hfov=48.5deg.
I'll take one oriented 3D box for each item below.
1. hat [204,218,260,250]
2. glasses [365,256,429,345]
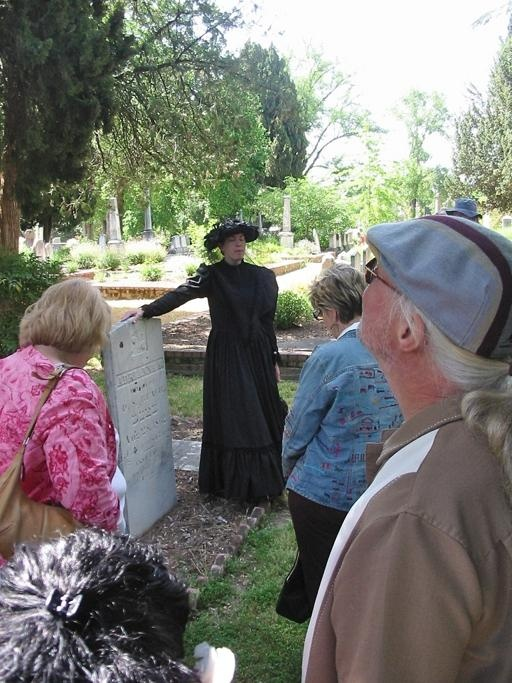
[{"bbox_3d":[-0.189,-0.805,4.191,0.306,0.117,0.296,-18,6,-22],"label":"hat"},{"bbox_3d":[0.247,-0.085,1.050,0.044,0.138,0.137,-37,-3,8],"label":"glasses"}]
